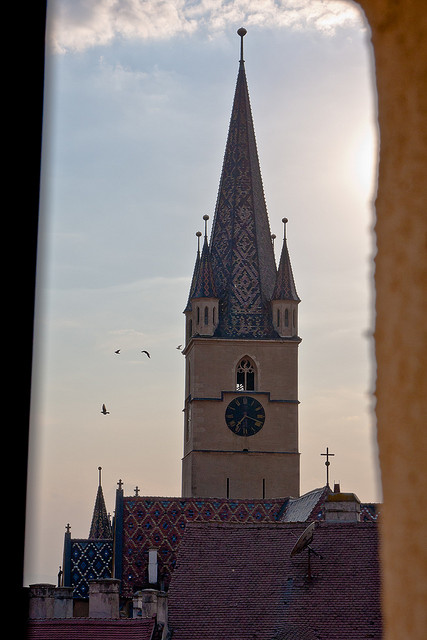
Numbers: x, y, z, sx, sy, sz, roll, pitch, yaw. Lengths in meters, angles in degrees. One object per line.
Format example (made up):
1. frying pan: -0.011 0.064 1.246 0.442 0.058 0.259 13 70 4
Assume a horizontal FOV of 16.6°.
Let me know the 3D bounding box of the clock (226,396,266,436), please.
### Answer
1. clock: 0.974 3.183 47.585 1.084 1.323 0.175 7 -33 -9

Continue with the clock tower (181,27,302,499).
1. clock tower: 0.612 -0.922 49.271 3.575 12.149 6.735 -10 -4 16
